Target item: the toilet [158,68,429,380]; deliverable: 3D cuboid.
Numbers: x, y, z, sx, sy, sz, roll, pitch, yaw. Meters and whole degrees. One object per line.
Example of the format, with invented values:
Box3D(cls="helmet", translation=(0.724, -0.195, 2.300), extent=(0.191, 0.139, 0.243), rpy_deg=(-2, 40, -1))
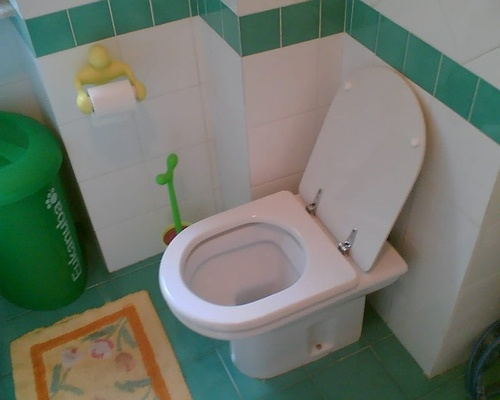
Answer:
Box3D(cls="toilet", translation=(0.088, 0.129, 1.352), extent=(0.692, 1.012, 0.527), rpy_deg=(-11, 37, -17))
